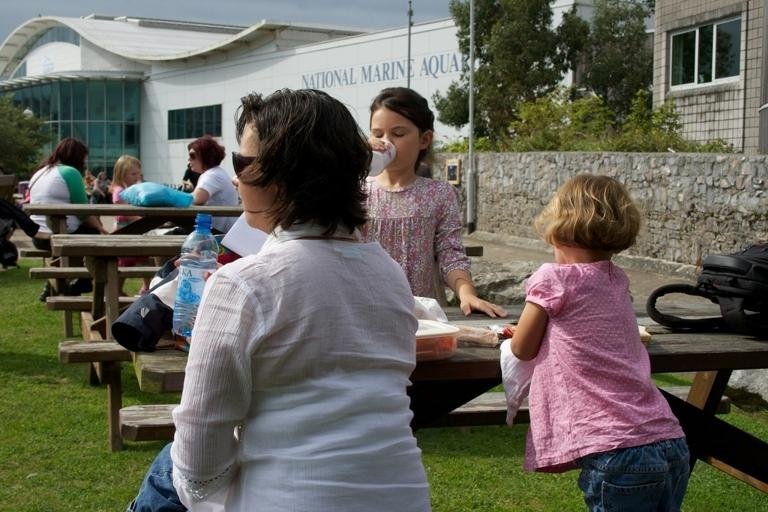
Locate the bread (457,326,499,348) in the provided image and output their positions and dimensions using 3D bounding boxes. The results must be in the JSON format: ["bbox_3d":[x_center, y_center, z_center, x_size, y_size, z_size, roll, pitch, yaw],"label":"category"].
[{"bbox_3d":[0.422,0.356,3.347,0.186,0.063,0.141,3,11,7],"label":"bread"}]

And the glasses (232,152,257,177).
[{"bbox_3d":[-0.488,-0.323,2.626,0.077,0.044,0.081,2,2,-3],"label":"glasses"}]
